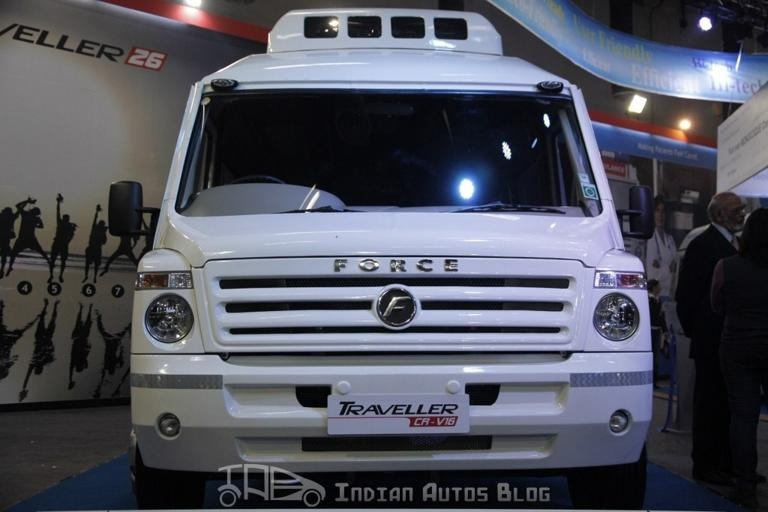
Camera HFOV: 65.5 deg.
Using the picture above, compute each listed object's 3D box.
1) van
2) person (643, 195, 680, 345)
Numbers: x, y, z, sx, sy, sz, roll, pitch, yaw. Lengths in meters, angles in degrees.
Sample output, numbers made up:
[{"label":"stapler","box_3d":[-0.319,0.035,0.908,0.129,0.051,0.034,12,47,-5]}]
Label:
[{"label":"van","box_3d":[0.001,-0.065,6.405,2.818,3.007,4.748,0,-5,-1]},{"label":"person","box_3d":[5.849,0.435,12.119,0.875,3.001,0.661,-4,18,29]}]
